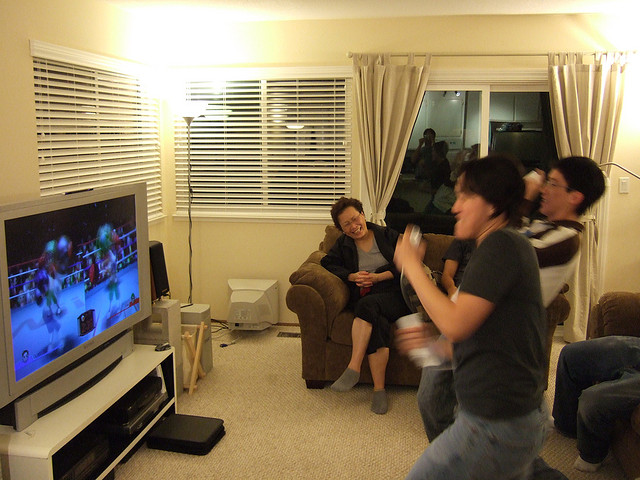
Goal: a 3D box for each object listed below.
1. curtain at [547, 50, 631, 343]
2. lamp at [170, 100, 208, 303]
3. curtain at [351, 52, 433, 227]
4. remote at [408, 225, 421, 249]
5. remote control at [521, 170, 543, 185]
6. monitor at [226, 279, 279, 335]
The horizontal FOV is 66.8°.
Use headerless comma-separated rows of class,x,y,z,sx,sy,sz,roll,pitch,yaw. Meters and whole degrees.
curtain,2.424,-0.409,4.584,0.620,2.677,0.574,11,17,41
lamp,-1.289,-0.374,4.889,0.323,2.039,0.516,-4,13,-18
curtain,0.655,-0.961,4.624,0.690,1.588,0.233,-2,13,-7
remote,0.359,-0.015,1.828,0.061,0.072,0.068,4,3,13
remote control,1.190,-0.348,2.702,0.088,0.071,0.152,9,16,33
monitor,-0.695,0.631,4.704,0.484,0.489,0.296,4,16,15
